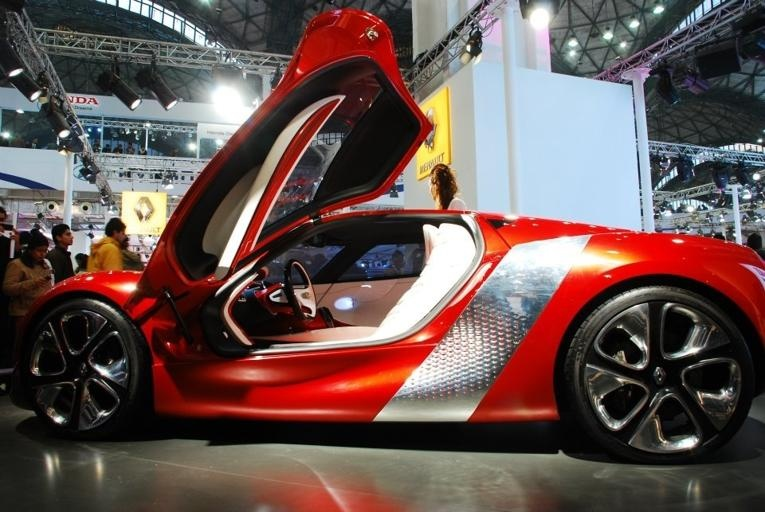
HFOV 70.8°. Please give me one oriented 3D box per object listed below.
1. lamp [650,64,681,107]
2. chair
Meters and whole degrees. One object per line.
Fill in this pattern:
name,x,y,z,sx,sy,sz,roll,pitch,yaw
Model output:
lamp,5.631,-3.354,10.545,0.318,0.802,0.436,-8,-24,-29
chair,0.003,0.168,3.709,1.093,0.506,0.824,-13,0,16
